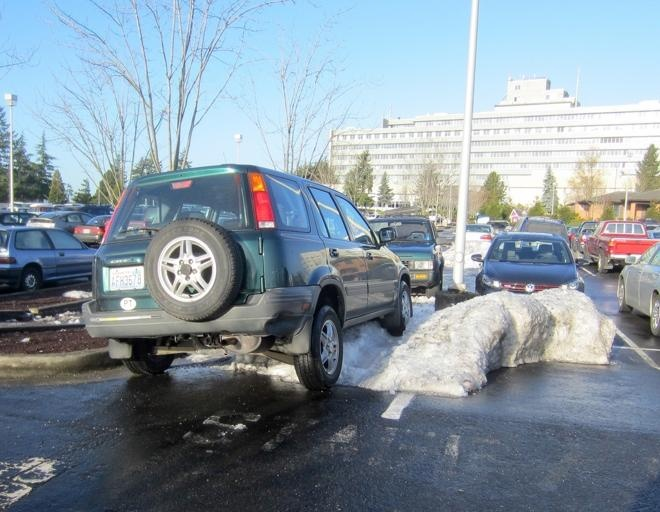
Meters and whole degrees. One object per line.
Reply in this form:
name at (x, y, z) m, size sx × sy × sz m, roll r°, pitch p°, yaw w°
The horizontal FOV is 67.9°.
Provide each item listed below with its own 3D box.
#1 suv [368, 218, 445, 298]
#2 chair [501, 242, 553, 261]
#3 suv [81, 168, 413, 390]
suv at (2.247, -0.156, 13.265) m, size 1.653 × 1.243 × 2.728 m, roll -2°, pitch 0°, yaw 13°
chair at (4.739, -0.114, 11.503) m, size 1.006 × 0.410 × 0.567 m, roll -1°, pitch 3°, yaw 4°
suv at (-0.616, 0.101, 6.255) m, size 2.090 × 1.541 × 3.951 m, roll 0°, pitch 4°, yaw 24°
